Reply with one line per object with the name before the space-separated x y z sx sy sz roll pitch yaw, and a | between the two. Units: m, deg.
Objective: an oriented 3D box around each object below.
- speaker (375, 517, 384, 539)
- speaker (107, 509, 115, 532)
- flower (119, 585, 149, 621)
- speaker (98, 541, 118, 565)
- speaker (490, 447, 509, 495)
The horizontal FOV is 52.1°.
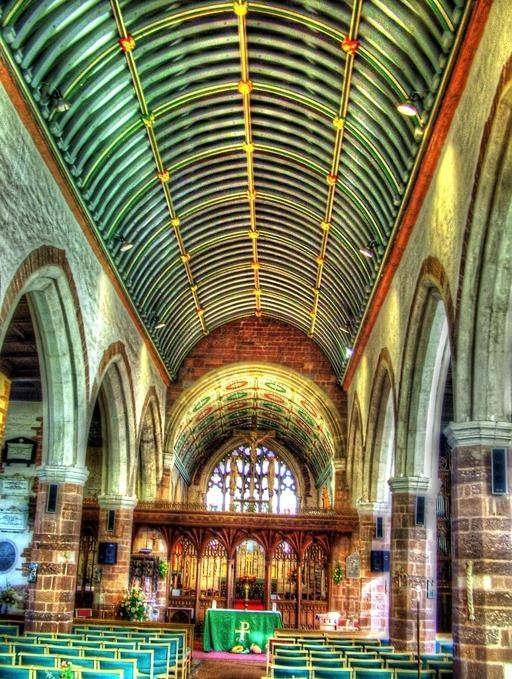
speaker | 3.602 5.455 15.372 0.252 0.564 0.291 2 -22 4
speaker | -4.001 4.936 14.437 0.274 0.572 0.131 7 -22 -9
flower | -3.170 6.845 13.793 0.665 0.973 0.751 1 -16 2
speaker | -4.018 5.707 14.199 0.479 0.744 0.494 1 -24 -4
speaker | 2.501 1.343 5.407 0.217 0.493 0.073 4 -22 -1
